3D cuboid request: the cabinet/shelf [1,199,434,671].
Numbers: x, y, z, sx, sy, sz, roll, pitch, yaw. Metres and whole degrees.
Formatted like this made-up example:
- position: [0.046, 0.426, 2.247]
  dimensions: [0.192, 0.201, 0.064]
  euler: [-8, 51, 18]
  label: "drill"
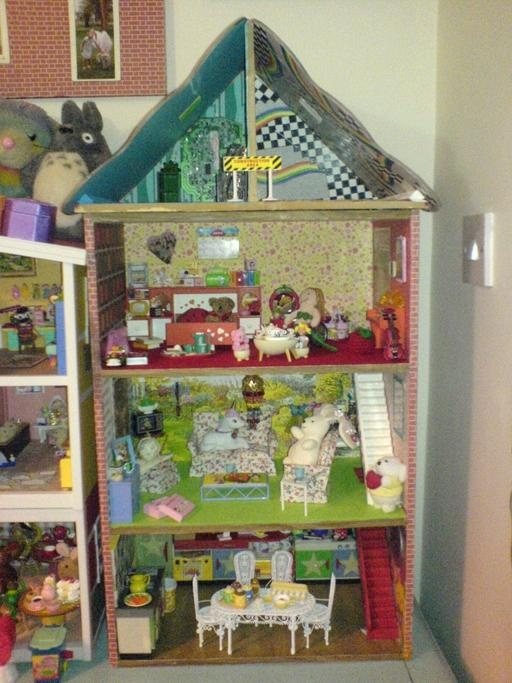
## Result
- position: [-0.332, 0.686, 4.415]
  dimensions: [3.791, 3.186, 1.210]
  euler: [-1, 4, -1]
  label: "cabinet/shelf"
